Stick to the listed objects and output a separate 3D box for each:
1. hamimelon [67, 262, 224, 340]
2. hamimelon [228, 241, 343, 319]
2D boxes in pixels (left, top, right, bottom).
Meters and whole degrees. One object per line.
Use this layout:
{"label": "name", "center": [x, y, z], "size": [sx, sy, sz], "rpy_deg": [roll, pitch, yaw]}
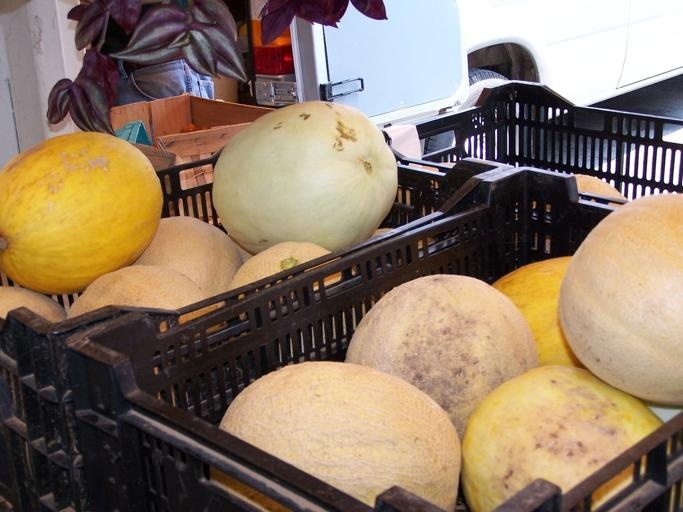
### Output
{"label": "hamimelon", "center": [-0.442, 0.056, 1.249], "size": [0.171, 0.148, 0.230], "rpy_deg": [-3, 2, 6]}
{"label": "hamimelon", "center": [-0.136, 0.016, 1.347], "size": [0.203, 0.135, 0.166], "rpy_deg": [-23, 28, -10]}
